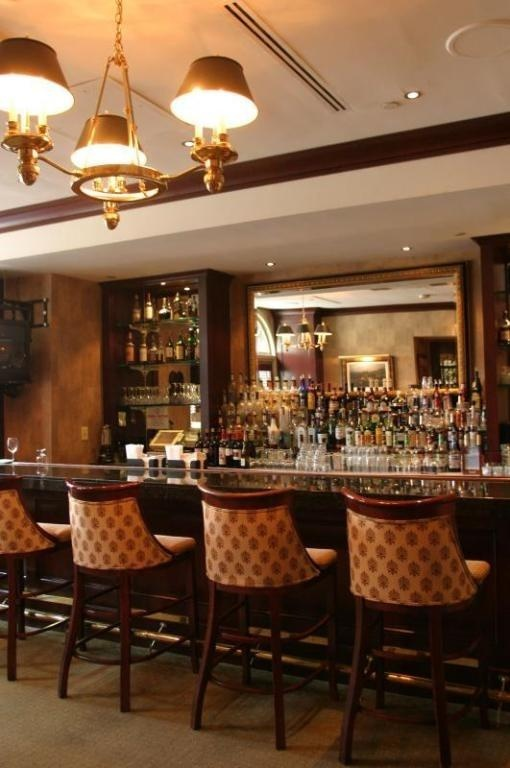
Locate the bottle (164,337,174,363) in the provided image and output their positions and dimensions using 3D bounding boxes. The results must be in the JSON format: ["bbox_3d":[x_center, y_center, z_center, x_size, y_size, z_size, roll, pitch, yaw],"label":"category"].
[{"bbox_3d":[-0.843,-0.330,6.205,0.124,0.219,0.040,-5,-5,34],"label":"bottle"}]

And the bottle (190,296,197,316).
[{"bbox_3d":[-0.573,-0.735,5.943,0.032,0.205,0.152,0,-5,-31],"label":"bottle"}]

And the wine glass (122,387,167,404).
[{"bbox_3d":[-1.098,0.113,6.331,0.260,0.092,0.260,-1,4,-41],"label":"wine glass"}]

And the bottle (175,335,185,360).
[{"bbox_3d":[-0.724,-0.340,6.105,0.034,0.230,0.124,1,-5,-40],"label":"bottle"}]

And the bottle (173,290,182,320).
[{"bbox_3d":[-0.758,-0.756,6.117,0.040,0.278,0.117,2,-6,-43],"label":"bottle"}]

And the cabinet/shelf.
[{"bbox_3d":[-0.892,-0.160,6.113,1.495,1.777,0.393,-5,-5,36],"label":"cabinet/shelf"}]

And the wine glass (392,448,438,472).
[{"bbox_3d":[0.953,0.483,3.896,0.183,0.082,0.183,1,-1,0],"label":"wine glass"}]

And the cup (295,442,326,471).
[{"bbox_3d":[0.398,0.491,4.333,0.160,0.221,0.166,1,-5,0],"label":"cup"}]

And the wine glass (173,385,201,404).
[{"bbox_3d":[-0.642,0.099,6.000,0.207,0.146,0.208,5,-5,-35],"label":"wine glass"}]

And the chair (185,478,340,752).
[{"bbox_3d":[0.027,0.869,2.606,0.610,0.951,0.829,-2,-4,6],"label":"chair"}]

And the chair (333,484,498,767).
[{"bbox_3d":[0.567,0.827,2.265,0.517,0.929,0.680,-3,-4,20],"label":"chair"}]

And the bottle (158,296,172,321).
[{"bbox_3d":[-0.876,-0.741,6.194,0.153,0.231,0.039,-5,-5,35],"label":"bottle"}]

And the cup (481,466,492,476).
[{"bbox_3d":[1.345,0.505,3.710,0.026,0.046,0.049,25,-8,1],"label":"cup"}]

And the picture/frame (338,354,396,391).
[{"bbox_3d":[0.938,-0.096,5.259,0.302,0.261,0.029,-1,-7,24],"label":"picture/frame"}]

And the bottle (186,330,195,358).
[{"bbox_3d":[-0.612,-0.378,6.031,0.086,0.282,0.027,-5,-5,35],"label":"bottle"}]

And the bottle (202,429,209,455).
[{"bbox_3d":[-0.439,0.502,5.539,0.066,0.202,0.143,-1,-4,-8],"label":"bottle"}]
